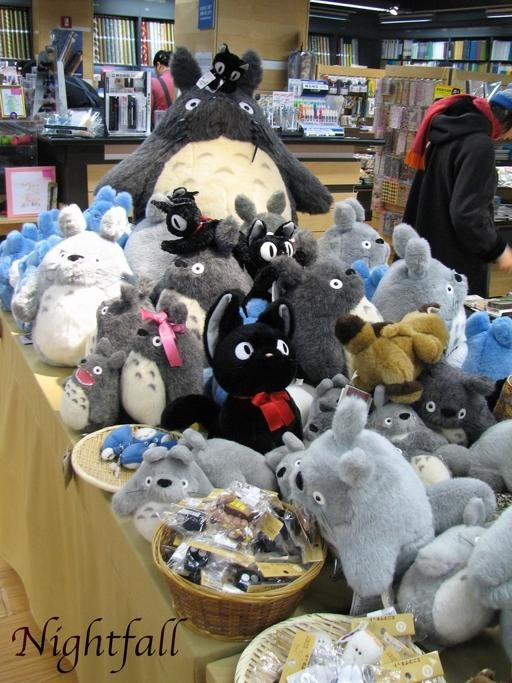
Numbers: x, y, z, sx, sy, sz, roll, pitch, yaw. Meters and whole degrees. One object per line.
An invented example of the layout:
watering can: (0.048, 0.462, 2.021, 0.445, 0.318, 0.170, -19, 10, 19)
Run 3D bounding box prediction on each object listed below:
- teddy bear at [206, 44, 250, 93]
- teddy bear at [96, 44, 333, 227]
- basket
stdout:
teddy bear: (-0.110, -0.991, 1.990, 0.127, 0.161, 0.112, 18, 26, -14)
teddy bear: (-0.155, -0.738, 2.156, 0.921, 0.764, 0.550, 1, 22, -8)
basket: (-0.044, 0.331, 0.765, 0.189, 0.065, 0.172, 5, 18, 9)
